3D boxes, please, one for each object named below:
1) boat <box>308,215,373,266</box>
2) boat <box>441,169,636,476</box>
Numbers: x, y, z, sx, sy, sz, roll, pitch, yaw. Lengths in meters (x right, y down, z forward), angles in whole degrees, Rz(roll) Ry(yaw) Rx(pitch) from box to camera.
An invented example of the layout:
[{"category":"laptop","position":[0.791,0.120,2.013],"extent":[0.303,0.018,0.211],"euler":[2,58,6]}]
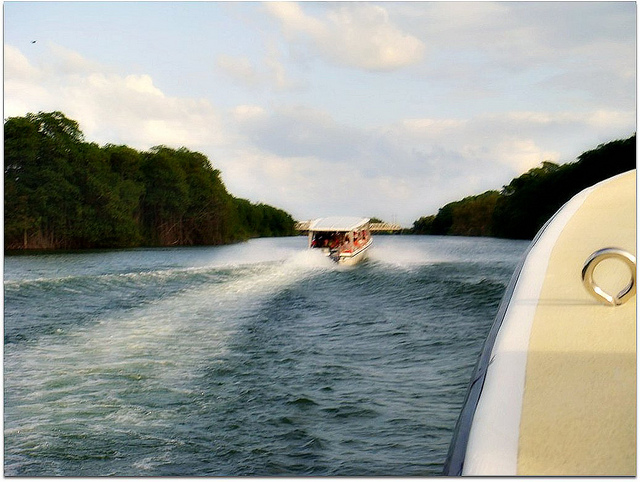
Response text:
[{"category":"boat","position":[1.024,-0.124,28.981],"extent":[3.154,2.263,4.951],"euler":[1,5,3]},{"category":"boat","position":[2.370,0.457,5.989],"extent":[1.156,1.215,4.996],"euler":[10,34,11]}]
